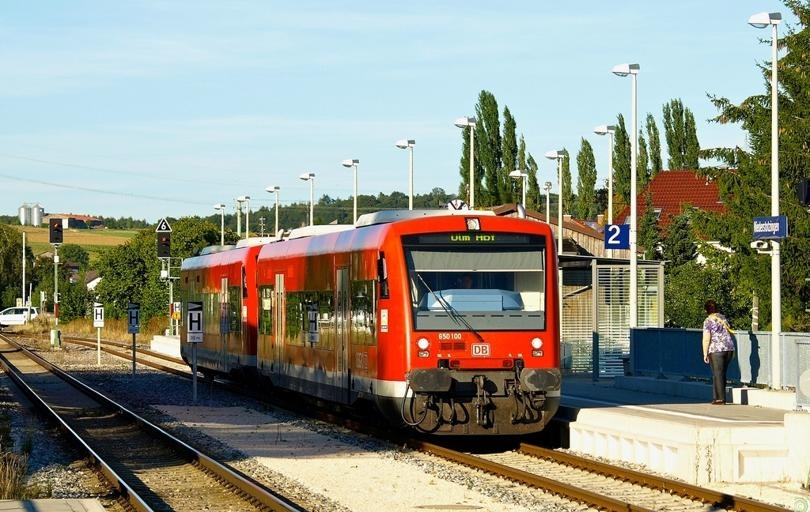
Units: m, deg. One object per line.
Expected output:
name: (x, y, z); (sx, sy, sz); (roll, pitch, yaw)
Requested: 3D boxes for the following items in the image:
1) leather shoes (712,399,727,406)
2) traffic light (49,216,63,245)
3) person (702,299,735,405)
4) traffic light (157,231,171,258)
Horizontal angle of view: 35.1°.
leather shoes: (8.495, 3.971, 34.508); (0.352, 0.140, 0.131); (4, -2, 1)
traffic light: (-19.008, -1.368, 69.837); (0.625, 1.343, 2.036); (-1, 0, -18)
person: (8.393, 2.626, 34.201); (0.760, 2.792, 0.703); (0, 1, 13)
traffic light: (-12.973, -0.583, 69.042); (0.619, 1.338, 1.445); (-1, 0, -16)
